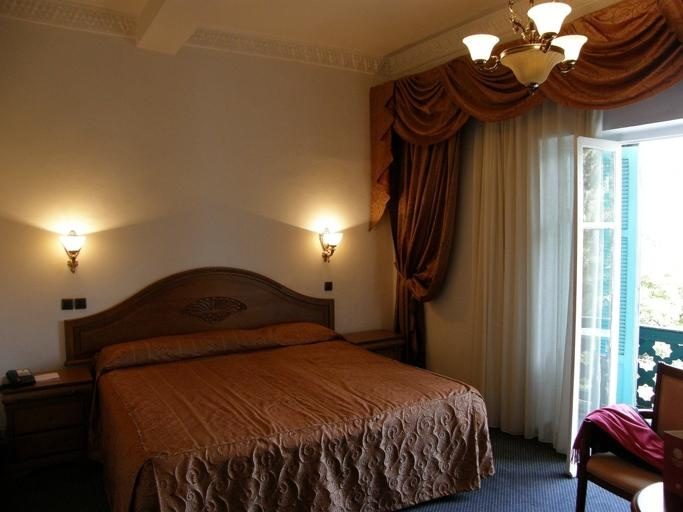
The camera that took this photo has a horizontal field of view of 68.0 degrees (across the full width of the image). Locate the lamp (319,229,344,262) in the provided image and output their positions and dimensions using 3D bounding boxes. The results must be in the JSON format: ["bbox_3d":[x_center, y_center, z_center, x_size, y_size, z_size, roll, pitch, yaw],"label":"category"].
[{"bbox_3d":[-0.082,-0.119,5.310,0.274,0.358,0.230,-1,-1,-19],"label":"lamp"}]

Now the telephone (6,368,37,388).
[{"bbox_3d":[-2.495,0.950,3.961,0.196,0.100,0.275,0,-2,-35],"label":"telephone"}]

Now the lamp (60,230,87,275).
[{"bbox_3d":[-2.274,-0.013,4.310,0.187,0.321,0.141,-1,-1,-30],"label":"lamp"}]

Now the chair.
[{"bbox_3d":[1.861,1.174,3.238,0.676,0.903,0.407,-1,-1,-25],"label":"chair"}]
